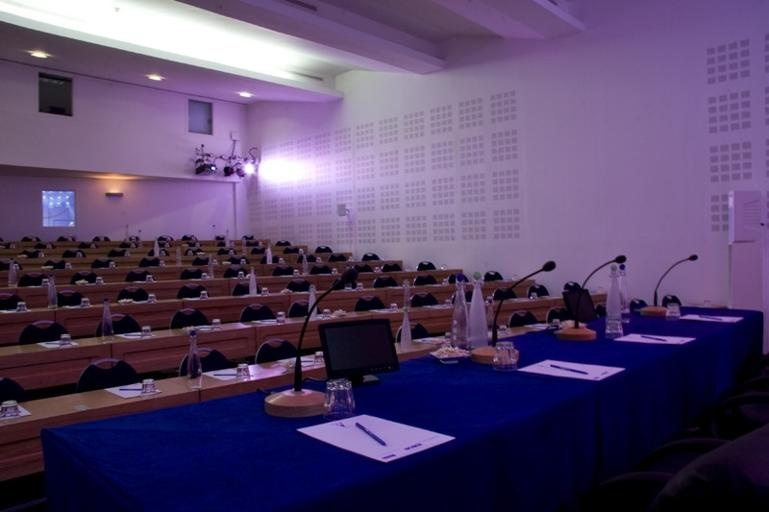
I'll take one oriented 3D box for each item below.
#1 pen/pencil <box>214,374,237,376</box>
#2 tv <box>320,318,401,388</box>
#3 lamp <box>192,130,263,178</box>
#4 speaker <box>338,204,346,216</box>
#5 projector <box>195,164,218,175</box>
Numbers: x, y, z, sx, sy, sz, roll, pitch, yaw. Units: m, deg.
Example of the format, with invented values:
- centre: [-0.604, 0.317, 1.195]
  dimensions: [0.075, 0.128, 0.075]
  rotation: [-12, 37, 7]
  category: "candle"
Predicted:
- centre: [-1.002, 0.749, 3.218]
  dimensions: [0.112, 0.015, 0.013]
  rotation: [-5, 1, 27]
  category: "pen/pencil"
- centre: [-0.127, 0.499, 2.589]
  dimensions: [0.434, 0.294, 0.137]
  rotation: [-3, 1, -37]
  category: "tv"
- centre: [-4.382, -2.712, 14.314]
  dimensions: [1.657, 1.013, 0.855]
  rotation: [-5, 14, -33]
  category: "lamp"
- centre: [-1.037, -1.126, 12.316]
  dimensions: [0.237, 0.233, 0.228]
  rotation: [-1, 0, -9]
  category: "speaker"
- centre: [-4.833, -2.321, 13.749]
  dimensions: [0.562, 0.249, 0.331]
  rotation: [-1, 2, 40]
  category: "projector"
